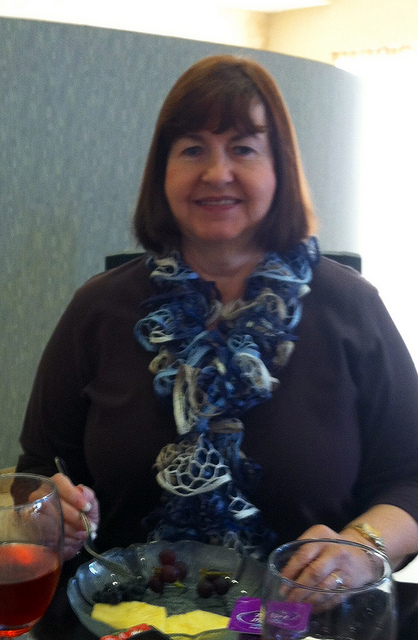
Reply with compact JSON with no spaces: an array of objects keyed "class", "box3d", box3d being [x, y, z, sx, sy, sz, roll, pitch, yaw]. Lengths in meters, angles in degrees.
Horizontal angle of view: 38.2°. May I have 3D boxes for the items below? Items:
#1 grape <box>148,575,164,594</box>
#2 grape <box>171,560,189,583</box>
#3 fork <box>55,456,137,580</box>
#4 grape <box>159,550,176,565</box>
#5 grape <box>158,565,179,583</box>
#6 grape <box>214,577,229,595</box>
[{"class":"grape","box3d":[-0.050,0.250,0.568,0.013,0.012,0.013,-1,-12,-2]},{"class":"grape","box3d":[-0.028,0.250,0.597,0.012,0.015,0.013,-15,-9,39]},{"class":"fork","box3d":[-0.163,0.220,0.743,0.042,0.086,0.359,-1,5,-24]},{"class":"grape","box3d":[-0.041,0.240,0.613,0.014,0.015,0.014,16,-16,4]},{"class":"grape","box3d":[-0.040,0.246,0.586,0.019,0.012,0.018,1,5,0]},{"class":"grape","box3d":[0.011,0.250,0.569,0.014,0.015,0.013,5,21,-10]}]
